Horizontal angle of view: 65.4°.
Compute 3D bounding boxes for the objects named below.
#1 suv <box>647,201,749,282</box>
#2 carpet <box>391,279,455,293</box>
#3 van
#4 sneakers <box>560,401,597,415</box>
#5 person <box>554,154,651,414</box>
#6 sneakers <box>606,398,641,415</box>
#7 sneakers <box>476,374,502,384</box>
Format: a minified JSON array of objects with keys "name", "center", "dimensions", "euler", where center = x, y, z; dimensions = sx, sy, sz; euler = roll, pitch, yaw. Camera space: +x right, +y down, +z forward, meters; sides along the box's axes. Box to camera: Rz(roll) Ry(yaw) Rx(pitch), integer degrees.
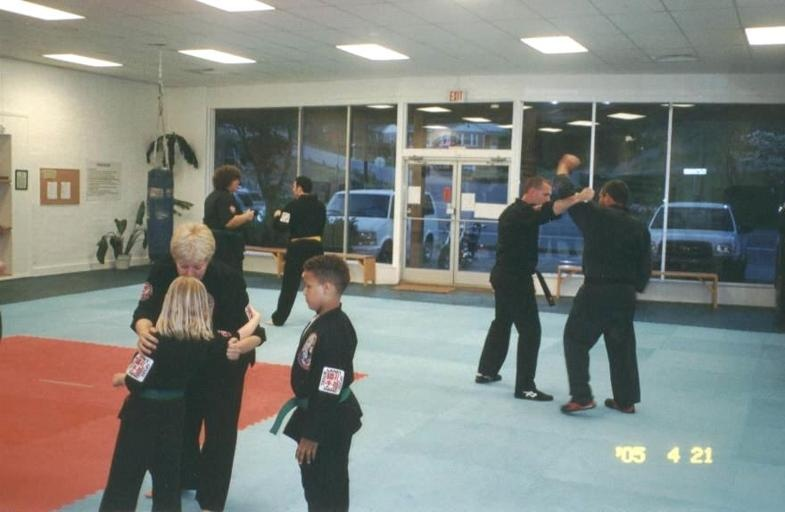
[{"name":"suv","center":[5.639,-0.330,11.466],"dimensions":[1.323,1.110,2.371],"euler":[0,-1,25]},{"name":"carpet","center":[0.639,0.642,12.264],"dimensions":[1.212,0.045,0.952],"euler":[5,10,17]},{"name":"van","center":[-0.133,-0.634,13.854],"dimensions":[1.494,1.131,2.190],"euler":[3,1,36]},{"name":"sneakers","center":[1.851,1.528,6.217],"dimensions":[0.375,0.156,0.138],"euler":[-1,-2,-2]},{"name":"person","center":[2.174,0.424,6.212],"dimensions":[0.858,2.334,0.450],"euler":[1,10,-1]},{"name":"sneakers","center":[2.359,1.544,6.334],"dimensions":[0.127,0.129,0.333],"euler":[-7,15,-34]},{"name":"sneakers","center":[1.101,1.397,7.017],"dimensions":[0.294,0.087,0.102],"euler":[-2,3,-20]}]
